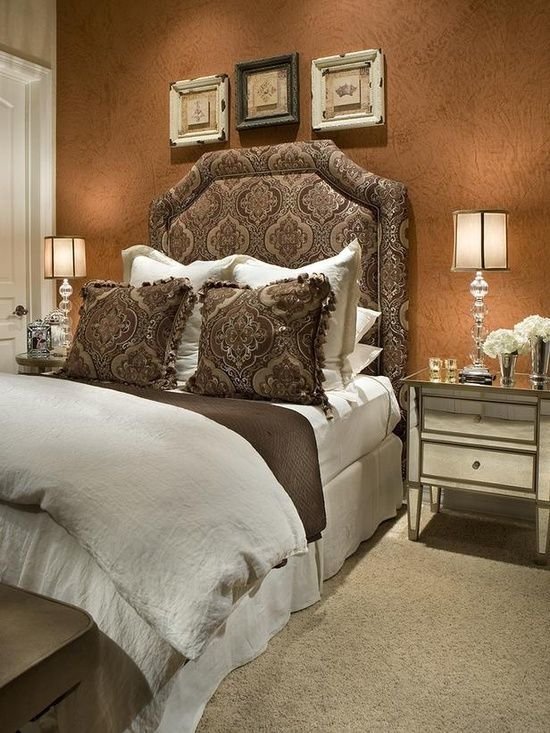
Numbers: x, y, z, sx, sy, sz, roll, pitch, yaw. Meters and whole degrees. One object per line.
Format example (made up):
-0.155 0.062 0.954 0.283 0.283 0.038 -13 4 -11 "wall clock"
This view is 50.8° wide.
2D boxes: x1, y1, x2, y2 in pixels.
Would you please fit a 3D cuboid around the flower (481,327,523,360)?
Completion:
0.890 -0.084 2.249 0.143 0.108 0.093 1 7 15 "flower"

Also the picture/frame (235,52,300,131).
-0.026 -1.470 3.093 0.464 0.397 0.051 2 5 30 "picture/frame"

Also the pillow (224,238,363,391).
0.089 -0.179 2.204 0.259 0.647 0.722 9 -6 -41 "pillow"

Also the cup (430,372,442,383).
0.649 0.049 2.327 0.041 0.041 0.069 -2 -3 26 "cup"

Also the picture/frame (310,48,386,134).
0.382 -1.373 2.875 0.479 0.412 0.050 2 6 31 "picture/frame"

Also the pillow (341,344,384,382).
0.412 -0.017 2.605 0.165 0.051 0.173 10 54 41 "pillow"

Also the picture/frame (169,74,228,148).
-0.423 -1.459 3.305 0.463 0.391 0.050 3 4 30 "picture/frame"

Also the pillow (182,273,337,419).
-0.084 -0.092 2.130 0.663 0.499 0.168 2 -4 34 "pillow"

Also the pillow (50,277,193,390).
-0.629 -0.141 2.397 0.672 0.473 0.157 5 -8 32 "pillow"

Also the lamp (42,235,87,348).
-1.359 -0.461 3.686 0.243 0.683 0.237 -5 8 -22 "lamp"
